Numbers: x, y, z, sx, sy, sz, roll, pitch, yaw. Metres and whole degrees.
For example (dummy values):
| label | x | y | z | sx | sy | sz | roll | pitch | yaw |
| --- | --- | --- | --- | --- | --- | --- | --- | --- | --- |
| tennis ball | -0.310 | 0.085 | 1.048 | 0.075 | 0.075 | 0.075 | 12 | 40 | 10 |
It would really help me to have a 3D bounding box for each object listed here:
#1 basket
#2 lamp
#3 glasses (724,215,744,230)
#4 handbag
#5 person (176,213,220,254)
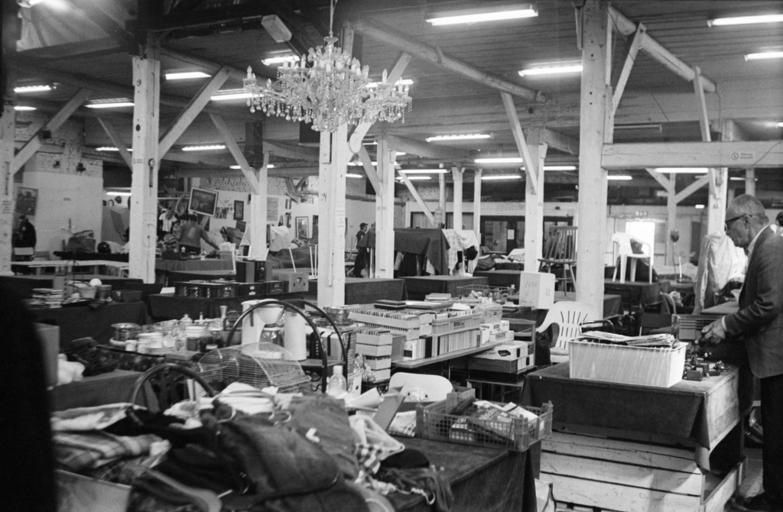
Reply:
| label | x | y | z | sx | sy | sz | roll | pitch | yaw |
| --- | --- | --- | --- | --- | --- | --- | --- | --- | --- |
| basket | 0.544 | 1.009 | 3.969 | 0.409 | 0.128 | 0.414 | 0 | -1 | 28 |
| lamp | -0.729 | -2.463 | 8.297 | 1.909 | 1.580 | 1.774 | 4 | -1 | -5 |
| glasses | 2.948 | -0.291 | 5.775 | 0.106 | 0.059 | 0.118 | -1 | -5 | -29 |
| handbag | -0.673 | 0.870 | 3.032 | 0.924 | 0.521 | 0.289 | 3 | -1 | 20 |
| person | -4.467 | -0.502 | 15.392 | 1.124 | 1.005 | 1.867 | 5 | 10 | -13 |
